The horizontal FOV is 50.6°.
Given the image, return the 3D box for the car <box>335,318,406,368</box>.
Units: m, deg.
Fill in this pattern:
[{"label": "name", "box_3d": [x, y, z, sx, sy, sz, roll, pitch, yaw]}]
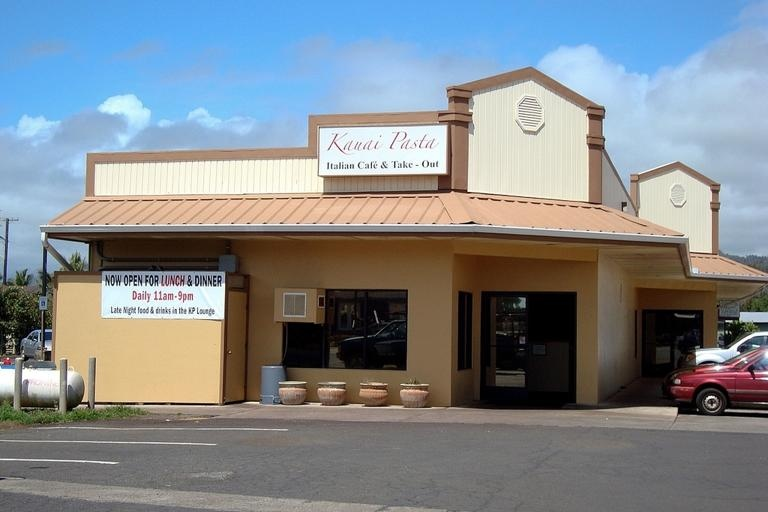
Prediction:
[{"label": "car", "box_3d": [-0.318, 2.724, 24.788, 2.012, 1.025, 1.111, 2, -5, 5]}]
